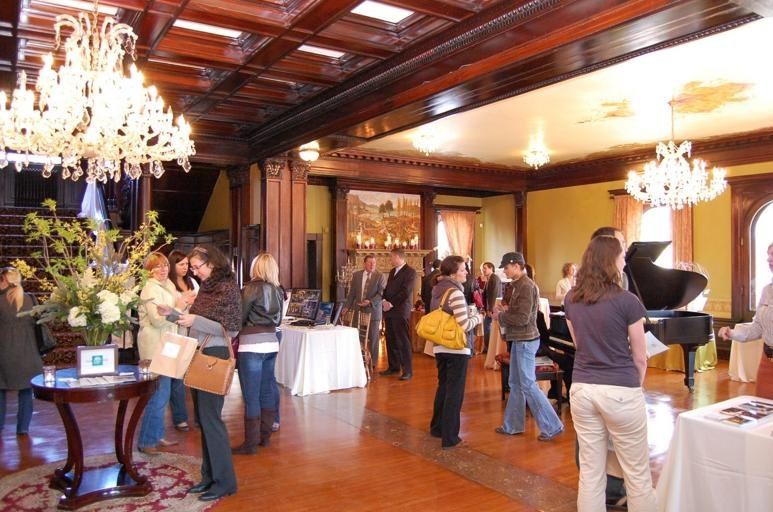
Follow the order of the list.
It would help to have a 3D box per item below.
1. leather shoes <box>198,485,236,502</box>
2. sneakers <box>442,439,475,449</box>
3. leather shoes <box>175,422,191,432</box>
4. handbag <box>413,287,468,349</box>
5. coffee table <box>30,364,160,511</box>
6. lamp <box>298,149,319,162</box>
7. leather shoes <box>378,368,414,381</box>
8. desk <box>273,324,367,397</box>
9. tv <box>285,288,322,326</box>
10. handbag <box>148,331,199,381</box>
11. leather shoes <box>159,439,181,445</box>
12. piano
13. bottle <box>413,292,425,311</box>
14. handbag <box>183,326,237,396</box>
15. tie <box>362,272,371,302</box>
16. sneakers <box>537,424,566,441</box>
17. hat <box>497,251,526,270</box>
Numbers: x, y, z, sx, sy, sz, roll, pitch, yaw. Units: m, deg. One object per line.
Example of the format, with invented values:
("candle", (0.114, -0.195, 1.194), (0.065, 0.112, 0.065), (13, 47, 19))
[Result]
("leather shoes", (-1.552, 2.181, 5.014), (0.342, 0.148, 0.123), (8, -11, -23))
("sneakers", (0.791, 2.073, 6.063), (0.320, 0.095, 0.117), (0, -4, -10))
("leather shoes", (-2.432, 2.056, 6.568), (0.219, 0.084, 0.074), (-6, -8, 36))
("handbag", (0.591, 0.672, 5.849), (0.509, 0.637, 0.225), (4, 6, 39))
("coffee table", (-2.678, 1.633, 5.085), (1.061, 1.210, 0.780), (2, 5, 13))
("lamp", (-1.290, -1.747, 9.337), (0.307, 0.141, 0.355), (1, 5, 9))
("leather shoes", (0.173, 1.968, 9.076), (0.533, 0.226, 0.179), (7, -2, 17))
("desk", (-0.967, 1.430, 8.321), (0.951, 0.644, 1.317), (2, -3, -26))
("tv", (-1.321, 0.791, 8.596), (0.450, 0.557, 0.770), (-3, 6, -39))
("handbag", (-1.888, 0.886, 4.839), (0.404, 0.398, 0.105), (12, -9, 6))
("leather shoes", (-2.425, 2.071, 6.091), (0.154, 0.055, 0.075), (7, -1, -3))
("piano", (3.218, 0.943, 8.082), (2.719, 2.646, 1.883), (7, -10, -29))
("bottle", (0.733, 1.009, 11.853), (0.279, 0.307, 0.313), (-1, -13, 4))
("handbag", (-1.580, 0.960, 4.938), (0.457, 0.572, 0.300), (1, 5, 7))
("tie", (-0.361, 0.496, 9.216), (0.097, 0.388, 0.291), (5, 0, 16))
("sneakers", (1.902, 2.058, 6.382), (0.333, 0.138, 0.124), (-17, 4, -19))
("hat", (1.486, 0.050, 6.432), (0.296, 0.159, 0.216), (0, -2, 6))
